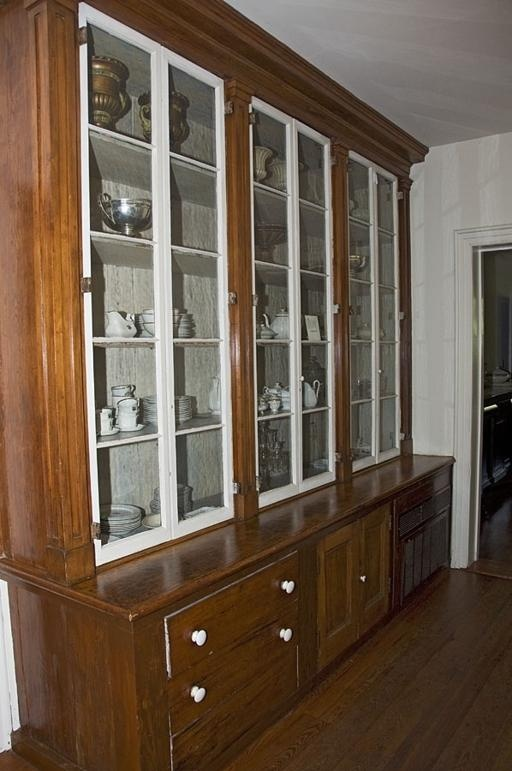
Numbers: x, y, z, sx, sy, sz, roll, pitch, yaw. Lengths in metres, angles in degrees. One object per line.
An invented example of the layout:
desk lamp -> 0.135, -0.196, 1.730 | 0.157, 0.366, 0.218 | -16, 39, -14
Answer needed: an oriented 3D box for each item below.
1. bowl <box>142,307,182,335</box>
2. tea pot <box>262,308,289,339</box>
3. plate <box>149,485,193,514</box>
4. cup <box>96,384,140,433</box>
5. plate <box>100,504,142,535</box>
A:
bowl -> -0.304, -0.210, 1.921 | 0.101, 0.068, 0.087 | 3, 10, 19
tea pot -> 0.083, -0.240, 2.447 | 0.130, 0.133, 0.086 | 5, 7, 27
plate -> -0.280, 0.367, 1.916 | 0.105, 0.056, 0.140 | -1, 1, 0
cup -> -0.417, 0.076, 1.792 | 0.084, 0.143, 0.140 | 3, 5, 33
plate -> -0.401, 0.403, 1.794 | 0.087, 0.037, 0.090 | -1, 10, -14
